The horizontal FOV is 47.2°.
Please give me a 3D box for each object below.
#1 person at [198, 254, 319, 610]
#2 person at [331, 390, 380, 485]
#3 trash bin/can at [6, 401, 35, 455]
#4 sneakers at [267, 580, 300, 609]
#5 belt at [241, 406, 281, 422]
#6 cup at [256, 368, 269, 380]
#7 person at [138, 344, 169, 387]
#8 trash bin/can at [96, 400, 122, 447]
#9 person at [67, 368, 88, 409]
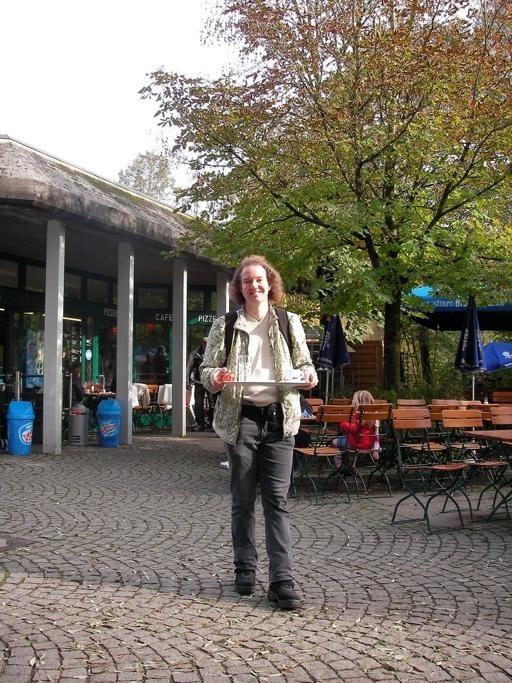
[{"bbox_3d":[0.016,0.445,3.342,0.674,1.992,0.607,2,-10,-4],"label":"person"},{"bbox_3d":[1.359,1.114,7.669,0.617,0.964,0.640,3,-10,-11],"label":"person"},{"bbox_3d":[-4.453,1.630,11.031,0.494,1.010,0.594,5,-10,-21],"label":"trash bin/can"},{"bbox_3d":[0.154,1.351,3.118,0.085,0.091,0.228,2,-10,-23],"label":"sneakers"},{"bbox_3d":[0.032,0.415,3.310,0.223,0.099,0.053,0,-9,5],"label":"belt"},{"bbox_3d":[0.031,0.175,3.132,0.064,0.042,0.056,-1,-3,2],"label":"cup"},{"bbox_3d":[-3.135,0.743,18.314,1.036,1.172,0.366,4,4,-9],"label":"person"},{"bbox_3d":[-3.109,1.737,12.376,0.453,0.979,0.281,4,-10,-17],"label":"trash bin/can"},{"bbox_3d":[-4.030,0.995,13.070,0.411,0.960,0.829,4,-10,-17],"label":"person"}]
